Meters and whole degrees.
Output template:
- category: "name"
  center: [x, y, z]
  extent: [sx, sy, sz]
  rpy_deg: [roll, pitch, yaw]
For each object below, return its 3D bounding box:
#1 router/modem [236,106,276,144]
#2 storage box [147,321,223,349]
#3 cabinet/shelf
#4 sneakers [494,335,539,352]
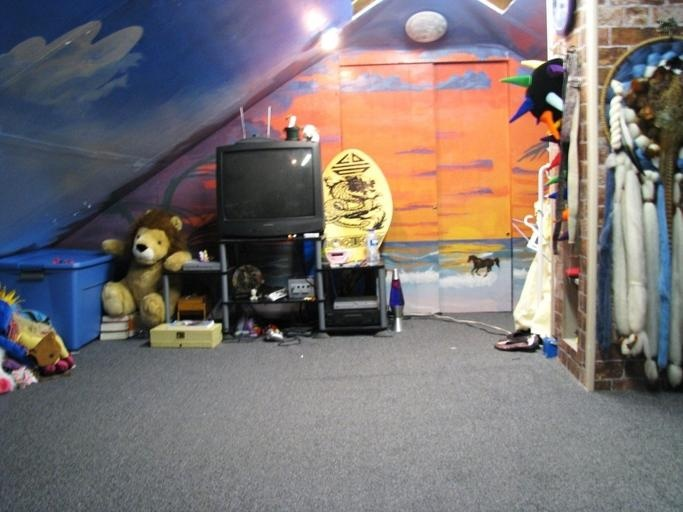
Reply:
- category: "router/modem"
  center: [-0.757, -1.115, 4.833]
  extent: [0.351, 0.373, 0.352]
  rpy_deg: [-1, 2, -10]
- category: "storage box"
  center: [-1.245, 0.610, 4.481]
  extent: [0.555, 0.176, 0.274]
  rpy_deg: [-1, 14, 2]
- category: "cabinet/shelf"
  center: [-0.542, 0.191, 4.822]
  extent: [1.848, 0.790, 0.680]
  rpy_deg: [-1, 14, 4]
- category: "sneakers"
  center: [1.290, 0.640, 4.097]
  extent: [0.217, 0.072, 0.140]
  rpy_deg: [-7, 6, 23]
